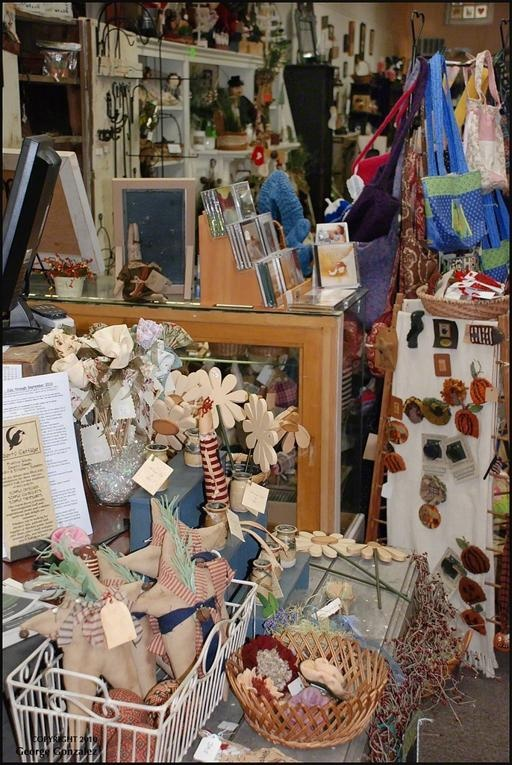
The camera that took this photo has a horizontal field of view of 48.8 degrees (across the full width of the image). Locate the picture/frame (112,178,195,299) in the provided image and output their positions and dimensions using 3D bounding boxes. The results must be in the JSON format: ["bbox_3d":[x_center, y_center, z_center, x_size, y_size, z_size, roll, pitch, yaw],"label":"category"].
[{"bbox_3d":[-0.389,-0.560,2.179,0.405,0.576,0.151,2,17,3],"label":"picture/frame"}]

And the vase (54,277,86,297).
[{"bbox_3d":[-0.726,-0.359,2.175,0.085,0.064,0.086,-4,11,-31],"label":"vase"}]

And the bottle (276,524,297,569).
[{"bbox_3d":[0.068,0.378,1.309,0.047,0.096,0.097,-4,11,1],"label":"bottle"}]

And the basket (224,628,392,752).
[{"bbox_3d":[0.087,0.482,0.909,0.257,0.098,0.250,0,-4,-31],"label":"basket"}]

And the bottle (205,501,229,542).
[{"bbox_3d":[-0.084,0.268,1.128,0.049,0.078,0.069,3,5,-22],"label":"bottle"}]

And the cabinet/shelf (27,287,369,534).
[{"bbox_3d":[-0.147,0.058,1.526,0.812,0.818,0.286,2,7,17],"label":"cabinet/shelf"}]

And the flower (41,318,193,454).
[{"bbox_3d":[-0.326,-0.018,1.357,0.308,0.275,0.378,-7,12,-12],"label":"flower"}]

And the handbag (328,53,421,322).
[{"bbox_3d":[0.584,-0.821,2.560,0.363,1.117,0.630,-2,11,10],"label":"handbag"}]

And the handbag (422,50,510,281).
[{"bbox_3d":[0.856,-0.878,2.317,0.330,0.928,0.281,0,12,18],"label":"handbag"}]

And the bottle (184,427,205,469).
[{"bbox_3d":[-0.141,0.151,1.226,0.047,0.067,0.064,0,10,-9],"label":"bottle"}]

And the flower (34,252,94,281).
[{"bbox_3d":[-0.712,-0.430,2.103,0.127,0.051,0.140,12,17,29],"label":"flower"}]

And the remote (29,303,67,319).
[{"bbox_3d":[-0.608,-0.206,1.634,0.092,0.041,0.167,-2,13,-29],"label":"remote"}]
